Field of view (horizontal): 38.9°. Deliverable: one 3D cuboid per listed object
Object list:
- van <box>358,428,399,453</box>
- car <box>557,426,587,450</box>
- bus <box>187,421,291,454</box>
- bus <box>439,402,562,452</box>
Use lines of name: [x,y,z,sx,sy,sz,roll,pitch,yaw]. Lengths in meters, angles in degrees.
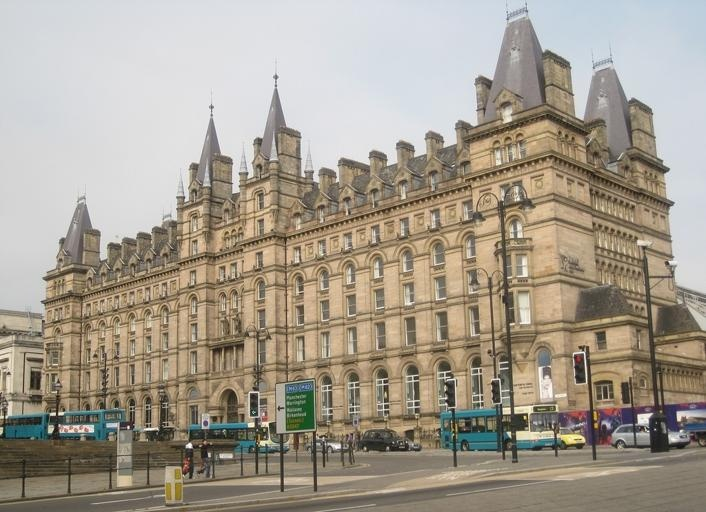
van: [2.696,16.534,90.104,1.775,1.446,2.922,10,-21,-36]
car: [17.858,14.798,81.504,1.996,1.932,2.695,-9,-18,15]
bus: [-12.367,16.982,98.073,4.655,4.060,15.298,7,-15,-41]
bus: [12.475,14.234,83.356,3.828,3.957,12.723,7,-16,-37]
